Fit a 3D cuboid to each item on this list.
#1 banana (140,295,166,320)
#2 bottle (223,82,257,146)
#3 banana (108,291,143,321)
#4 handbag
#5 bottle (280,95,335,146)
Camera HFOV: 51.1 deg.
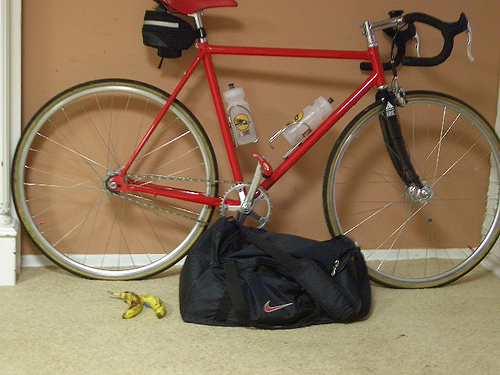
[{"bbox_3d":[-0.377,0.484,2.146,0.137,0.039,0.073,21,58,44],"label":"banana"},{"bbox_3d":[-0.065,-0.313,2.246,0.158,0.262,0.086,1,11,36],"label":"bottle"},{"bbox_3d":[-0.506,0.489,2.142,0.103,0.037,0.126,3,21,-12],"label":"banana"},{"bbox_3d":[0.094,0.341,2.225,0.777,0.327,0.539,4,22,-3],"label":"handbag"},{"bbox_3d":[0.248,-0.278,2.205,0.208,0.194,0.085,-7,9,-15],"label":"bottle"}]
